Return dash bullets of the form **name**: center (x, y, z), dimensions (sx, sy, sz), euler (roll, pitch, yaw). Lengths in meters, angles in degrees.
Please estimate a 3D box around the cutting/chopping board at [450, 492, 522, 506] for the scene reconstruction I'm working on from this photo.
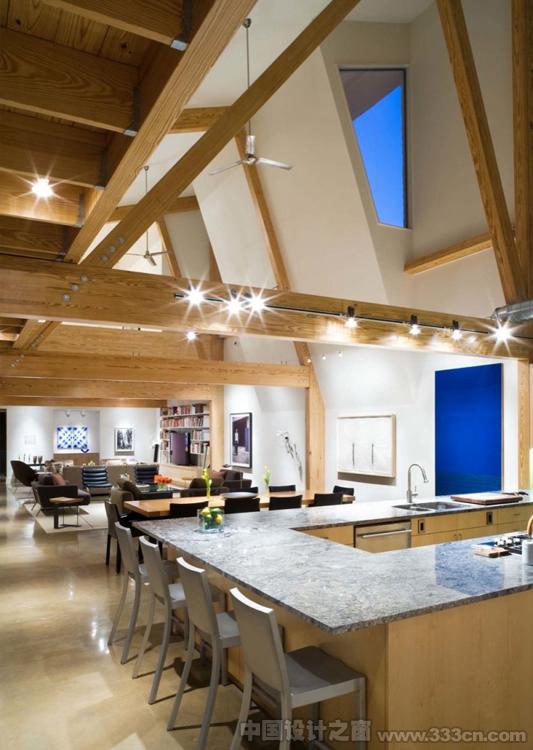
- **cutting/chopping board**: center (2.115, 1.182, 5.086), dimensions (0.752, 0.055, 0.487), euler (2, -7, -22)

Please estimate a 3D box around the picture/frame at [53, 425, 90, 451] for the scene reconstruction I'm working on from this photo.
- **picture/frame**: center (-6.342, 2.019, 17.136), dimensions (0.784, 0.710, 0.090), euler (0, -1, -28)

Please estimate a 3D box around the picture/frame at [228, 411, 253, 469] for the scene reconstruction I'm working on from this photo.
- **picture/frame**: center (-0.680, 1.578, 12.514), dimensions (0.034, 1.282, 0.860), euler (-2, 0, -37)

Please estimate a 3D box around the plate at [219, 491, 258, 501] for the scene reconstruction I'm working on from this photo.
- **plate**: center (-0.344, 1.511, 6.688), dimensions (0.262, 0.056, 0.273), euler (-1, -4, 26)

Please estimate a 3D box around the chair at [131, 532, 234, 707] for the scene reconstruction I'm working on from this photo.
- **chair**: center (-0.568, 1.590, 3.229), dimensions (0.425, 0.687, 0.496), euler (-6, -35, 38)

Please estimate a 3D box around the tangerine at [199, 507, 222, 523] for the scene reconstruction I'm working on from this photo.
- **tangerine**: center (-0.376, 0.918, 3.522), dimensions (0.110, 0.079, 0.114), euler (2, -5, -18)

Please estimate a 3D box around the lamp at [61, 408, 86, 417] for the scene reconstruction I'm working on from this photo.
- **lamp**: center (-6.222, 1.215, 17.161), dimensions (0.730, 0.284, 0.144), euler (3, -7, -29)
